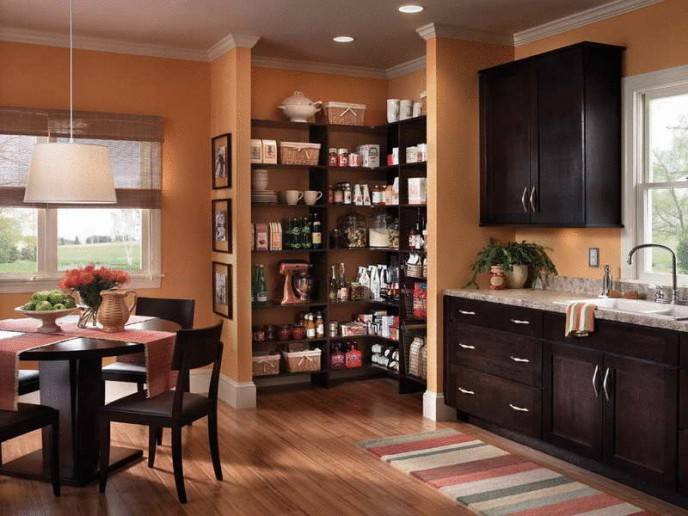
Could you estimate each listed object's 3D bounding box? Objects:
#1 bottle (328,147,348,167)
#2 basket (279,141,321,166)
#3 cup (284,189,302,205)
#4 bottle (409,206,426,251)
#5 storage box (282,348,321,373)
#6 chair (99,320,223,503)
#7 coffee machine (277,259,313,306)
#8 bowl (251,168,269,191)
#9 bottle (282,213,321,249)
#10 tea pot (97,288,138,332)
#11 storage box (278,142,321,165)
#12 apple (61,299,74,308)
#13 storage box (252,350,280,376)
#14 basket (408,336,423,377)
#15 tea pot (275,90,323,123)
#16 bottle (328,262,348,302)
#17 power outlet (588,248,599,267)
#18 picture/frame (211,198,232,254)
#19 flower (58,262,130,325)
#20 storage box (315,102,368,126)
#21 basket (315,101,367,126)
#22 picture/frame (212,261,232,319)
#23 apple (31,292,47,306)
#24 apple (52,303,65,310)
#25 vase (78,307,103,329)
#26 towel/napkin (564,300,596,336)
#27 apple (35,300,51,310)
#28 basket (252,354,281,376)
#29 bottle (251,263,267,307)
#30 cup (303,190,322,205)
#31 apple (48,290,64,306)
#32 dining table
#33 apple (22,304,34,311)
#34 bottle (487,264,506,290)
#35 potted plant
[{"bbox_3d":[-0.062,-1.025,5.440,0.211,0.171,0.201,0,2,-26],"label":"bottle"},{"bbox_3d":[-0.443,-1.030,5.221,0.408,0.208,0.257,0,1,-28],"label":"basket"},{"bbox_3d":[-0.488,-0.595,5.243,0.215,0.140,0.122,-3,4,-41],"label":"cup"},{"bbox_3d":[0.690,-0.284,5.058,0.157,0.407,0.264,0,3,5],"label":"bottle"},{"bbox_3d":[-0.402,1.005,5.290,0.305,0.132,0.225,1,-2,-29],"label":"storage box"},{"bbox_3d":[-1.113,0.919,3.231,0.726,1.038,0.424,0,3,-11],"label":"chair"},{"bbox_3d":[-0.487,0.234,5.323,0.485,0.459,0.294,-3,7,-27],"label":"coffee machine"},{"bbox_3d":[-0.805,-0.755,5.088,0.202,0.192,0.202,0,1,0],"label":"bowl"},{"bbox_3d":[-0.430,-0.266,5.453,0.464,0.390,0.323,0,4,-9],"label":"bottle"},{"bbox_3d":[-1.494,0.334,3.592,0.233,0.314,0.350,-3,-4,43],"label":"tea pot"},{"bbox_3d":[-0.432,-1.027,5.226,0.401,0.192,0.257,0,1,-28],"label":"storage box"},{"bbox_3d":[-1.795,0.291,3.463,0.059,0.055,0.056,-1,1,-38],"label":"apple"},{"bbox_3d":[-0.781,1.013,5.195,0.233,0.124,0.222,1,-1,-30],"label":"storage box"},{"bbox_3d":[0.684,0.927,5.042,0.099,0.360,0.232,-1,3,-23],"label":"basket"},{"bbox_3d":[-0.457,-1.484,5.286,0.437,0.271,0.322,1,1,-23],"label":"tea pot"},{"bbox_3d":[-0.058,0.240,5.573,0.194,0.382,0.445,0,3,1],"label":"bottle"},{"bbox_3d":[1.949,-0.010,4.168,0.028,0.159,0.096,-1,3,-25],"label":"power outlet"},{"bbox_3d":[-1.140,-0.315,4.988,0.057,0.622,0.583,1,0,-31],"label":"picture/frame"},{"bbox_3d":[-1.672,0.213,3.617,0.459,0.400,0.433,1,1,16],"label":"flower"},{"bbox_3d":[-0.015,-1.463,5.464,0.403,0.169,0.292,-1,3,-23],"label":"storage box"},{"bbox_3d":[-0.003,-1.444,5.466,0.396,0.166,0.293,-1,3,-25],"label":"basket"},{"bbox_3d":[-1.144,0.283,5.010,0.055,0.657,0.626,0,1,-31],"label":"picture/frame"},{"bbox_3d":[-1.970,0.260,3.446,0.093,0.081,0.081,17,22,4],"label":"apple"},{"bbox_3d":[-1.816,0.304,3.400,0.043,0.037,0.037,-7,-10,-12],"label":"apple"},{"bbox_3d":[-1.676,0.390,3.549,0.176,0.163,0.157,2,-3,-7],"label":"vase"},{"bbox_3d":[1.520,0.383,3.456,0.183,0.208,0.090,-3,-19,43],"label":"towel/napkin"},{"bbox_3d":[-1.892,0.291,3.351,0.067,0.054,0.063,1,3,-4],"label":"apple"},{"bbox_3d":[-0.759,1.035,5.154,0.223,0.118,0.210,1,-2,-30],"label":"basket"},{"bbox_3d":[-0.837,0.244,5.217,0.130,0.371,0.200,0,3,-9],"label":"bottle"},{"bbox_3d":[-0.317,-0.606,5.308,0.222,0.149,0.113,-3,4,-41],"label":"cup"},{"bbox_3d":[-1.861,0.259,3.469,0.092,0.080,0.089,3,2,33],"label":"apple"},{"bbox_3d":[-1.612,0.905,3.360,1.169,0.685,1.119,0,-1,25],"label":"dining table"},{"bbox_3d":[-2.002,0.299,3.386,0.047,0.047,0.050,-43,32,-19],"label":"apple"},{"bbox_3d":[1.285,0.152,4.470,0.117,0.203,0.140,1,3,9],"label":"bottle"},{"bbox_3d":[1.427,0.037,4.554,0.732,0.424,0.398,1,3,20],"label":"potted plant"}]
